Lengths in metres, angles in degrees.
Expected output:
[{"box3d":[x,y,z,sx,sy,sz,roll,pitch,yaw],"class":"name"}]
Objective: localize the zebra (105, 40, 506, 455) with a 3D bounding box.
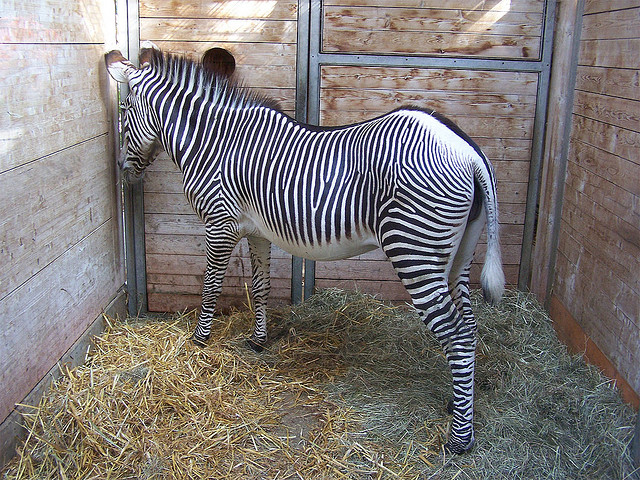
[{"box3d":[-0.278,-0.085,3.818,3.006,2.133,0.812,12,15,24],"class":"zebra"}]
